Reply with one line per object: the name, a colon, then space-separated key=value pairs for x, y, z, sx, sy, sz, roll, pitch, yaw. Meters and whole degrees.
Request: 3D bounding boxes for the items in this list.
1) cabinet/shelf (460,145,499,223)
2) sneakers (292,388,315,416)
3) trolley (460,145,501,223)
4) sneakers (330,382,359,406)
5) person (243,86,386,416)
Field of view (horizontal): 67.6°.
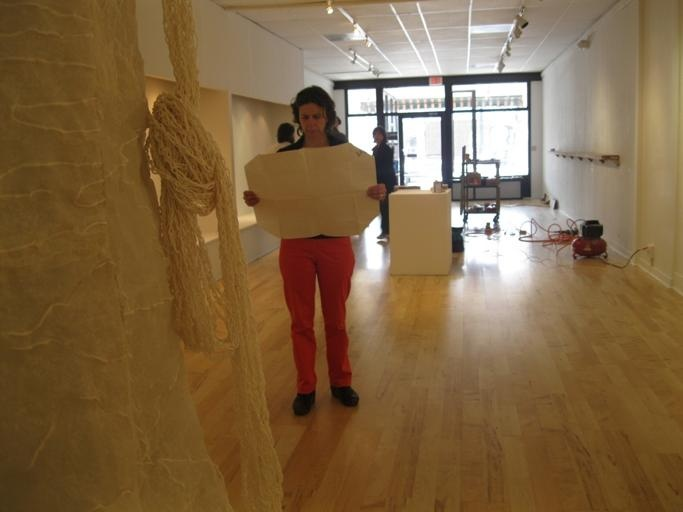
cabinet/shelf: x=2.744 y=-1.460 z=10.209 sx=0.708 sy=1.561 sz=0.749 roll=1 pitch=15 yaw=22
sneakers: x=-0.223 y=0.861 z=2.996 sx=0.075 sy=0.167 sz=0.158 roll=0 pitch=-10 yaw=10
trolley: x=2.783 y=-1.435 z=10.318 sx=0.684 sy=1.563 sz=0.707 roll=0 pitch=10 yaw=20
sneakers: x=0.024 y=0.834 z=3.137 sx=0.160 sy=0.133 sz=0.088 roll=5 pitch=11 yaw=36
person: x=-0.145 y=0.008 z=2.827 sx=0.629 sy=1.843 sz=0.625 roll=-4 pitch=9 yaw=-11
